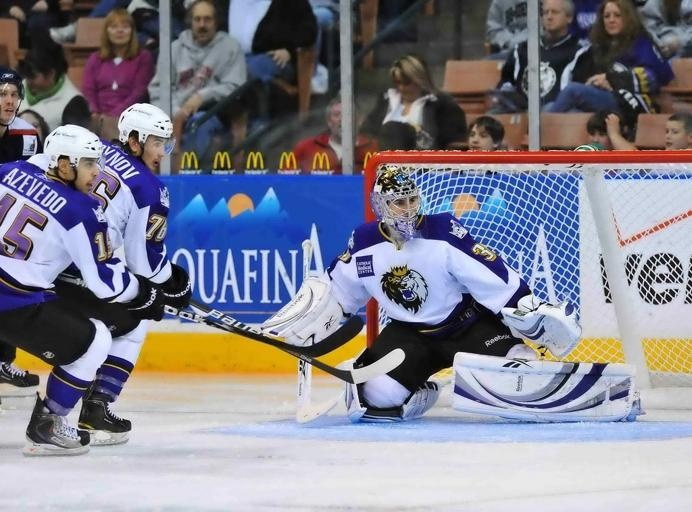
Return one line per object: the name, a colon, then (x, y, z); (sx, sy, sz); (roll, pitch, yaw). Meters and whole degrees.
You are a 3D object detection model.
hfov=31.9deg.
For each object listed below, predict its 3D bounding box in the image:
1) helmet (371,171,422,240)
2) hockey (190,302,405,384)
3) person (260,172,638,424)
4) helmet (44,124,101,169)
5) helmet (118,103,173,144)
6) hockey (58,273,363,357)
helmet: (0.225, -0.220, 5.439); (0.224, 0.289, 0.301); (-9, 26, -15)
hockey: (-0.183, 0.414, 5.505); (1.008, 0.229, 0.394); (19, -24, -14)
person: (0.503, 0.207, 5.392); (1.606, 1.161, 0.928); (-1, 0, 32)
helmet: (-1.097, -0.471, 5.037); (0.211, 0.179, 0.160); (-13, 11, 13)
helmet: (-0.897, -0.595, 5.514); (0.217, 0.202, 0.159); (-1, 25, 3)
hockey: (-0.605, 0.286, 5.727); (0.991, 0.176, 0.141); (22, -9, -17)
